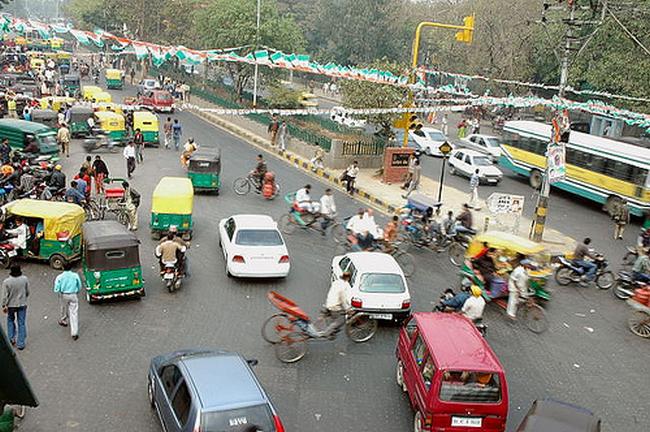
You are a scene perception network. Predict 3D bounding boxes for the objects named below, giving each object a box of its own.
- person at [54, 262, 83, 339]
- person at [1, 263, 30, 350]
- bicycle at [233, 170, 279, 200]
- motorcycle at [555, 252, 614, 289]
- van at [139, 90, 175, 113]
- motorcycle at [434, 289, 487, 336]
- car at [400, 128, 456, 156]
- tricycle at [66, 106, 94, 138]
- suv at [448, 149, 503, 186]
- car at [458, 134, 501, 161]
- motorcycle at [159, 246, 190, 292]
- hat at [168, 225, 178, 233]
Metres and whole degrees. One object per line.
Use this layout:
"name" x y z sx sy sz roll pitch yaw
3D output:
"person" -7.352 2.316 15.257 0.690 2.010 1.303 -13 27 -33
"person" -8.675 2.484 14.925 0.833 2.246 0.942 -1 -4 39
"bicycle" -3.438 -1.712 26.993 2.325 1.467 1.203 13 29 12
"motorcycle" 10.312 2.021 20.864 2.411 1.476 1.086 0 19 4
"van" -14.500 -10.003 45.699 1.564 1.288 2.729 -12 32 -33
"motorcycle" 4.215 2.647 15.963 2.289 1.704 0.882 1 -1 10
"car" 7.592 -5.402 38.845 0.992 1.744 3.186 -11 26 -31
"tricycle" -15.959 -6.145 34.656 1.431 1.322 2.027 -3 30 -26
"suv" 9.503 -3.253 33.537 1.718 1.534 3.622 -7 23 -26
"car" 11.259 -4.940 37.980 1.333 1.015 3.028 -10 25 -31
"motorcycle" -5.148 1.691 18.030 0.761 0.887 1.507 0 22 -5
"hat" -5.386 0.438 18.736 0.176 0.258 0.243 9 9 25
